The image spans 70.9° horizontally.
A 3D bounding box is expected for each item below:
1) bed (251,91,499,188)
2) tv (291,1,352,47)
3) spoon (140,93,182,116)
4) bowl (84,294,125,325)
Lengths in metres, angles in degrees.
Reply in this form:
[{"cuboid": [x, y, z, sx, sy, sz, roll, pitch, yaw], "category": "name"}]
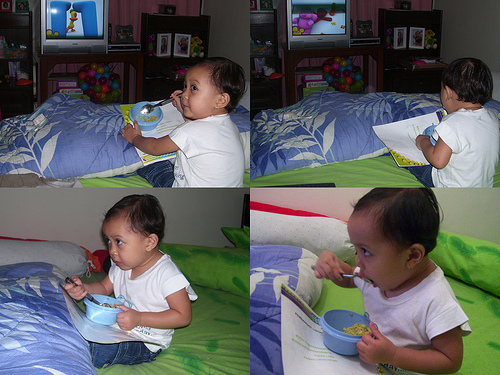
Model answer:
[{"cuboid": [0.429, -0.178, 1.413, 0.824, 0.460, 0.167, -1, -33, 2], "category": "bed"}, {"cuboid": [0.275, -0.654, 1.393, 0.185, 0.158, 0.018, -2, 2, -6], "category": "tv"}, {"cuboid": [-0.352, -0.330, 1.399, 0.146, 0.025, 0.034, -27, 57, -19], "category": "spoon"}, {"cuboid": [-0.504, 0.422, 1.222, 0.129, 0.105, 0.091, -2, 9, -5], "category": "bowl"}]
